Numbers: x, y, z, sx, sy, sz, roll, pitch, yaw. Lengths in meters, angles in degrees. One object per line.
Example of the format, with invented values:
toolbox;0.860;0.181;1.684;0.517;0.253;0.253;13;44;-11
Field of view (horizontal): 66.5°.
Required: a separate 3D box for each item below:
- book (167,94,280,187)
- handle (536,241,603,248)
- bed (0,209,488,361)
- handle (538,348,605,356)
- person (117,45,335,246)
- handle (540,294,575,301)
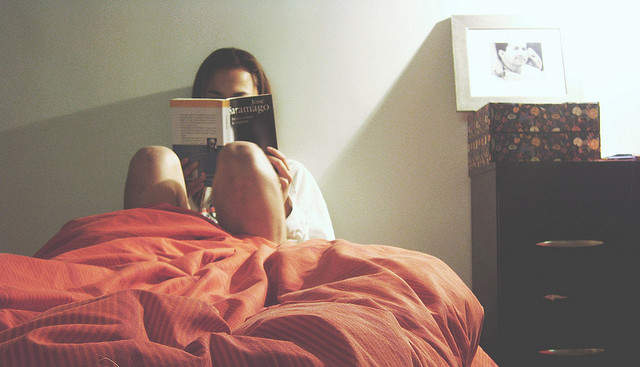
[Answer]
book;-0.550;-0.270;2.612;0.573;0.507;0.131;0;9;-6
handle;1.261;0.302;2.457;0.310;0.036;0.015;1;2;2
bed;-0.324;0.445;1.876;1.313;0.294;0.774;12;6;-1
handle;1.274;0.837;2.436;0.362;0.048;0.035;0;-13;2
person;-0.581;-0.094;2.712;0.771;1.388;0.782;5;37;-12
handle;1.193;0.568;2.451;0.179;0.046;0.036;-4;0;5
